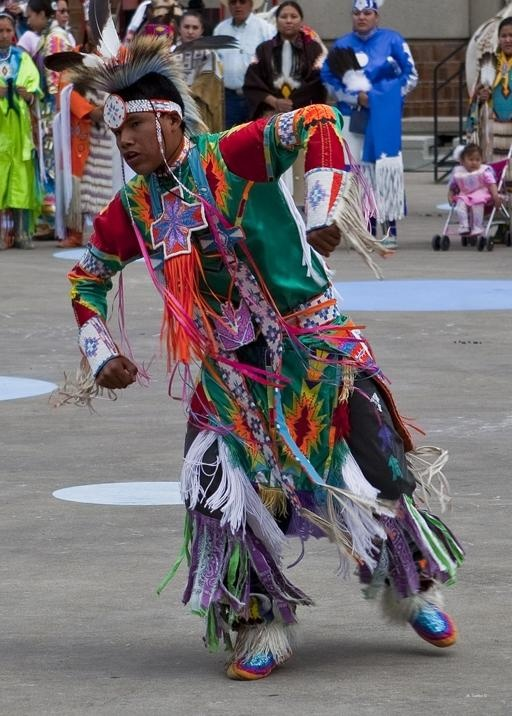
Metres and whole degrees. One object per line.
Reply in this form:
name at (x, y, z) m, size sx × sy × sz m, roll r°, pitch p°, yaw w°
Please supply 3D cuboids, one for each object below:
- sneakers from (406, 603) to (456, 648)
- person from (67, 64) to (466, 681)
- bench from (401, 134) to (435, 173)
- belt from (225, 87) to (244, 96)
sneakers at (0.367, 0.594, 2.557) m, size 0.041 × 0.057 × 0.123 m, roll -12°, pitch 21°, yaw -34°
person at (-0.016, 0.026, 2.501) m, size 0.837 × 1.275 × 0.401 m, roll 0°, pitch 7°, yaw 16°
bench at (2.594, -3.243, 18.401) m, size 0.796 × 0.580 × 0.488 m, roll -8°, pitch 14°, yaw -25°
belt at (-0.228, -2.771, 12.061) m, size 0.118 × 0.023 × 0.114 m, roll 3°, pitch 0°, yaw -41°
